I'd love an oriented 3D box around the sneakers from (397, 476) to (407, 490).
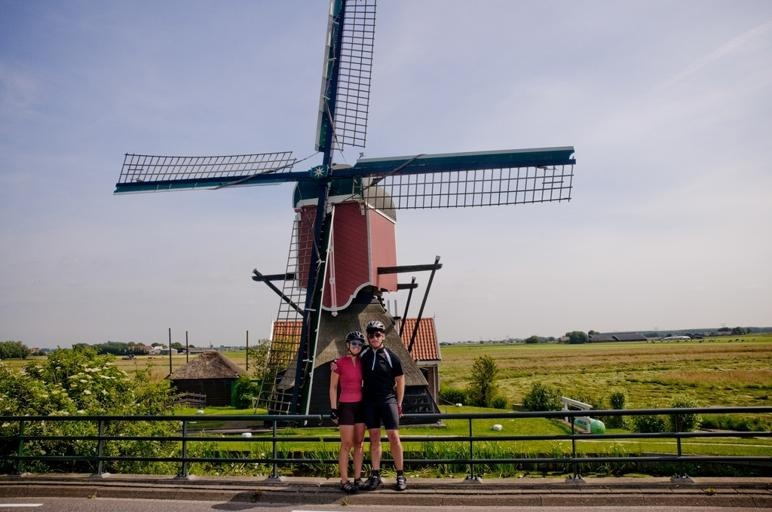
[{"bbox_3d":[0.402,6.062,20.099,0.266,0.403,0.278,-1,-10,0],"label":"sneakers"}]
